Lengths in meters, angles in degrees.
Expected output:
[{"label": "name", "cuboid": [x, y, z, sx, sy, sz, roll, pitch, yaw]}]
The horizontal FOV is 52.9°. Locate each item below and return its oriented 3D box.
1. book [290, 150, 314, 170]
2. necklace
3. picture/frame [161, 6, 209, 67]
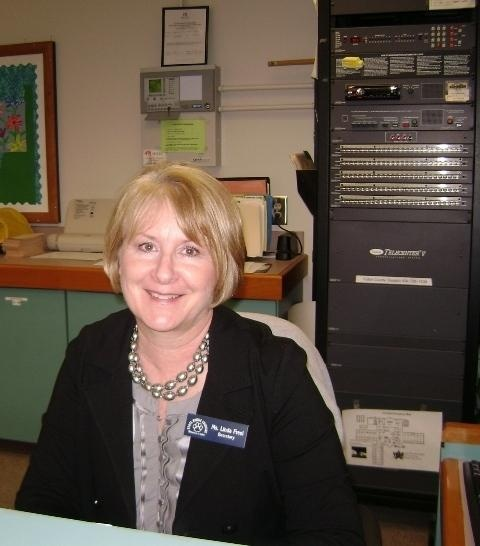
[{"label": "book", "cuboid": [0.264, -0.458, 1.964, 0.088, 0.095, 0.024, -5, -16, -38]}, {"label": "necklace", "cuboid": [-0.119, 0.149, 0.884, 0.102, 0.144, 0.033, 2, -3, 6]}, {"label": "picture/frame", "cuboid": [-0.328, -1.447, 2.939, 0.348, 0.463, 0.033, 1, 2, 7]}]
